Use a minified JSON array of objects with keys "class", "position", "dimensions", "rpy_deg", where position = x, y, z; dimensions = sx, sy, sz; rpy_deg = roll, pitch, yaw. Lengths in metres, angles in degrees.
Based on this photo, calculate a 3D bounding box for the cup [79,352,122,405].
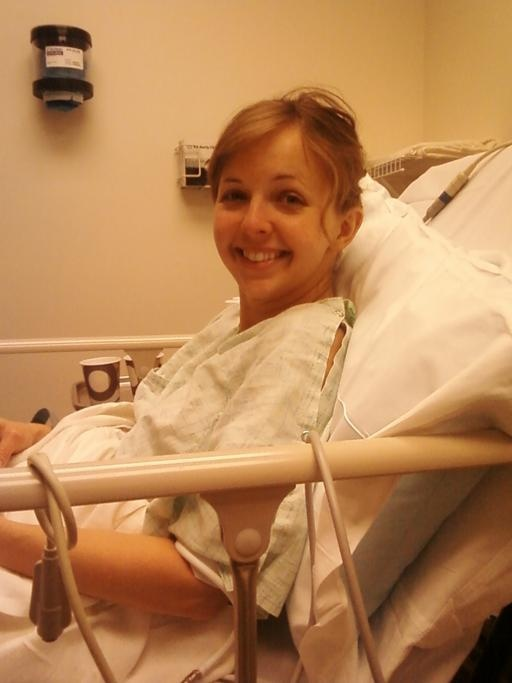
[{"class":"cup","position":[-0.334,0.082,1.359],"dimensions":[0.096,0.099,0.094],"rpy_deg":[-2,14,0]}]
